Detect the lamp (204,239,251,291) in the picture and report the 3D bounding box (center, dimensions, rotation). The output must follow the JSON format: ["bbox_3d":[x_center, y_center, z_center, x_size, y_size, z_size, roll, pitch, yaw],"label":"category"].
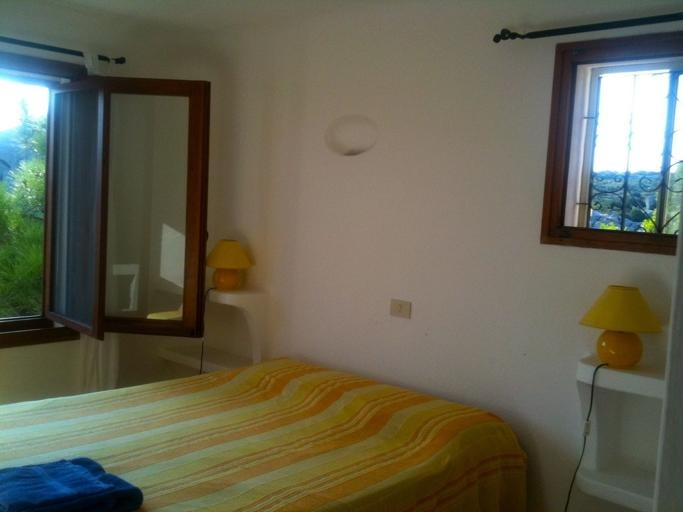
[{"bbox_3d":[-0.755,0.059,3.660,0.300,0.314,0.301,8,7,24],"label":"lamp"}]

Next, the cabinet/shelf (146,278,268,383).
[{"bbox_3d":[-0.950,0.482,3.851,0.512,1.041,0.501,2,1,-44],"label":"cabinet/shelf"}]

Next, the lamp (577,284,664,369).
[{"bbox_3d":[1.178,0.273,2.466,0.322,0.350,0.335,7,1,8],"label":"lamp"}]
